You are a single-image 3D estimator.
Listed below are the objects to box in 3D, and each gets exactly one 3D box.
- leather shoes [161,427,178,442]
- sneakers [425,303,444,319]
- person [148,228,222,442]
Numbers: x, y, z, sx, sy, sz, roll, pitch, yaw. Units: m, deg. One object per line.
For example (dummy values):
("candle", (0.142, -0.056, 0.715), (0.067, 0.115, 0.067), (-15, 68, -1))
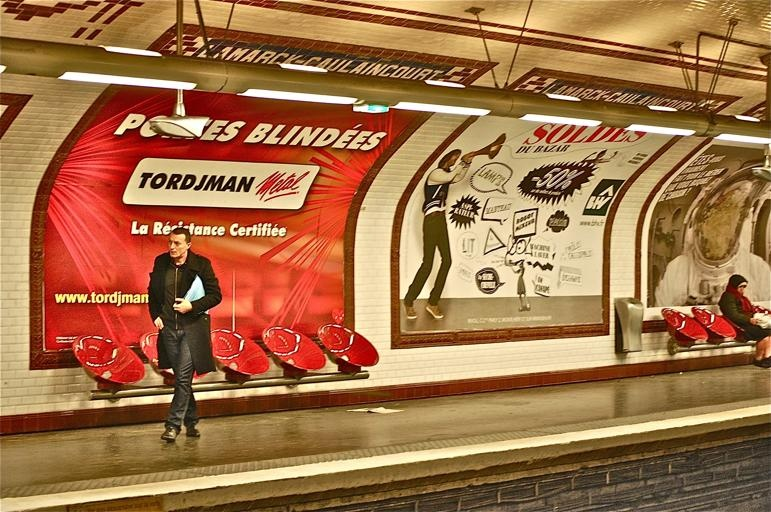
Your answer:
("leather shoes", (-2.546, 2.124, 6.310), (0.157, 0.118, 0.323), (24, -15, -8))
("sneakers", (0.859, 0.953, 9.140), (0.477, 0.171, 0.131), (24, 23, -18))
("person", (-2.452, 0.942, 6.360), (0.755, 2.568, 0.769), (3, -14, -25))
